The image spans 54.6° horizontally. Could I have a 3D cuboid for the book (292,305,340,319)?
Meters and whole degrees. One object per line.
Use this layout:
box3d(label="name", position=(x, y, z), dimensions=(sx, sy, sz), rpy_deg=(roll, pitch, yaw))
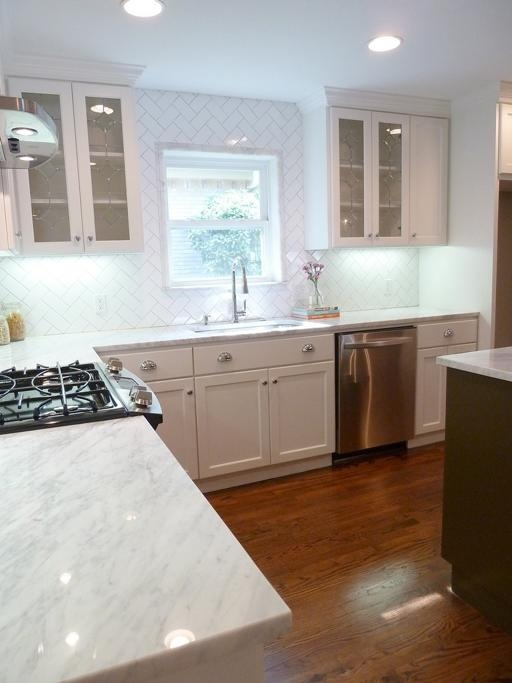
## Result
box3d(label="book", position=(0.379, -0.198, 3.360), dimensions=(0.343, 0.082, 0.211), rpy_deg=(2, 9, 23))

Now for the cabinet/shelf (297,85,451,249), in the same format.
box3d(label="cabinet/shelf", position=(0.746, -1.203, 3.342), dimensions=(1.054, 0.938, 0.394), rpy_deg=(-3, 8, -21))

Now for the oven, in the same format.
box3d(label="oven", position=(0.770, 0.333, 3.325), dimensions=(0.681, 0.712, 0.665), rpy_deg=(-1, -3, -26))
